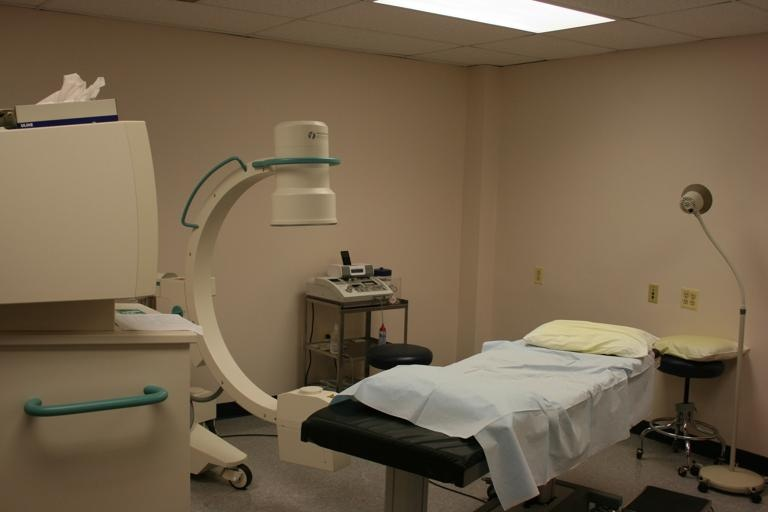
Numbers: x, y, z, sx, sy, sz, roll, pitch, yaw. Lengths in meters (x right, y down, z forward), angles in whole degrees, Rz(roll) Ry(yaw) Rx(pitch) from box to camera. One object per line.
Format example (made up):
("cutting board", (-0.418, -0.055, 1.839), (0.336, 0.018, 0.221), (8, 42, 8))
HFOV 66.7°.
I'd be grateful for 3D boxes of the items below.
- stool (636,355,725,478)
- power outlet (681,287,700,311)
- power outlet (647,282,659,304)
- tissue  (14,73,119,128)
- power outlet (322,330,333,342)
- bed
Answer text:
("stool", (2.156, 1.079, 4.175), (0.540, 0.765, 0.550), (9, 7, 28))
("power outlet", (2.247, 0.315, 4.258), (0.015, 0.118, 0.143), (-2, 24, -31))
("power outlet", (2.062, 0.288, 4.452), (0.018, 0.144, 0.093), (-10, 17, -37))
("tissue ", (-1.027, -0.464, 1.915), (0.308, 0.146, 0.309), (-5, 7, -19))
("power outlet", (-0.469, 0.676, 4.906), (0.061, 0.090, 0.049), (3, -20, -10))
("bed", (0.801, 0.710, 3.093), (0.964, 0.472, 1.707), (4, 9, 42))
